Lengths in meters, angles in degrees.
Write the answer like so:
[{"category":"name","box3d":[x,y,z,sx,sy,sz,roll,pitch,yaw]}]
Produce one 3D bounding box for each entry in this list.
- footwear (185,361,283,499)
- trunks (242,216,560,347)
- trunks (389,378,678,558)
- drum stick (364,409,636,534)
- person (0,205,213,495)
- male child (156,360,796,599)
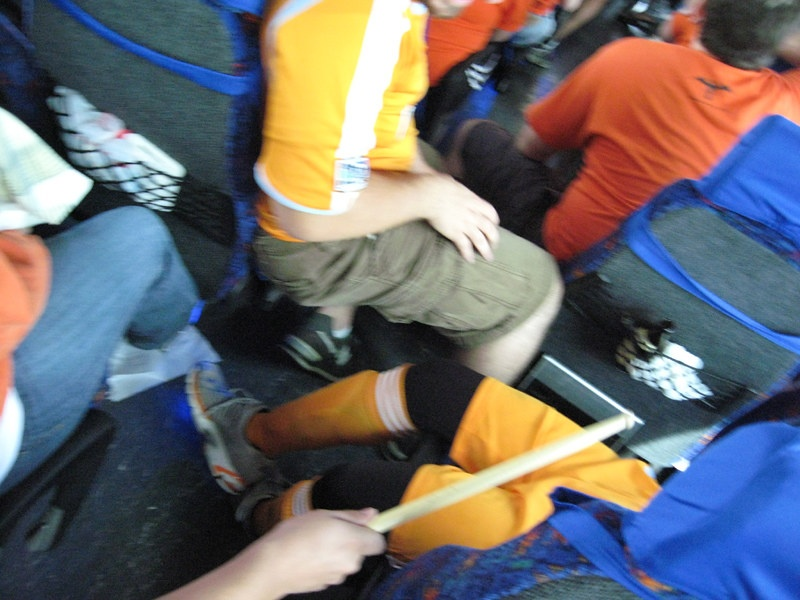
[{"category":"footwear","box3d":[-0.426,0.314,1.472,0.218,0.139,0.383,-21,60,-3]},{"category":"trunks","box3d":[-0.031,-0.088,1.371,0.668,0.199,0.319,17,26,-15]},{"category":"trunks","box3d":[0.266,0.314,1.187,0.495,0.466,0.151,21,74,-21]},{"category":"drum stick","box3d":[0.166,0.296,0.984,0.663,0.048,0.055,-15,34,-7]},{"category":"person","box3d":[-0.617,0.112,1.209,0.199,0.761,0.482,50,52,-19]},{"category":"male child","box3d":[0.003,0.312,1.166,0.989,0.536,0.195,-9,70,22]}]
